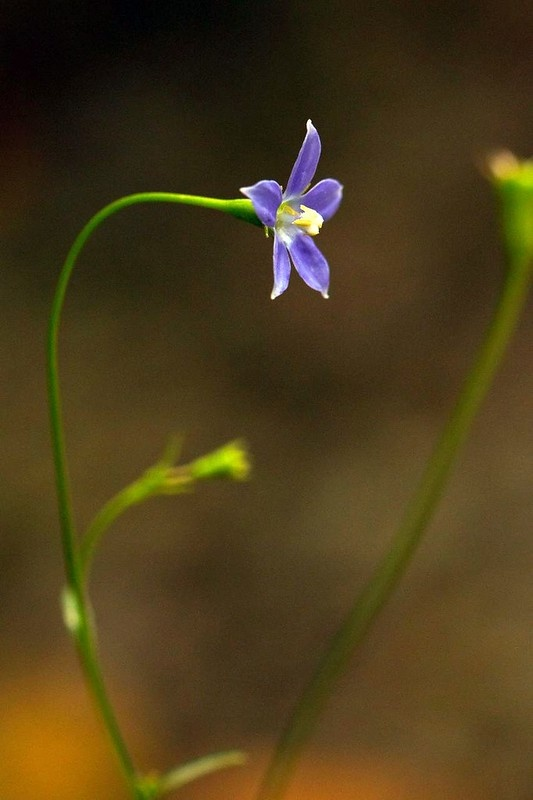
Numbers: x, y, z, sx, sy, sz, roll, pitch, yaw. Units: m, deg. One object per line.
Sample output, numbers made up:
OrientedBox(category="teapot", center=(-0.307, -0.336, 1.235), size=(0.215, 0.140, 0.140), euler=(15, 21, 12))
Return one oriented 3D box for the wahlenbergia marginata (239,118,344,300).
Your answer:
OrientedBox(category="wahlenbergia marginata", center=(0.027, -0.149, 0.633), size=(0.063, 0.114, 0.187), euler=(-10, -4, 11))
